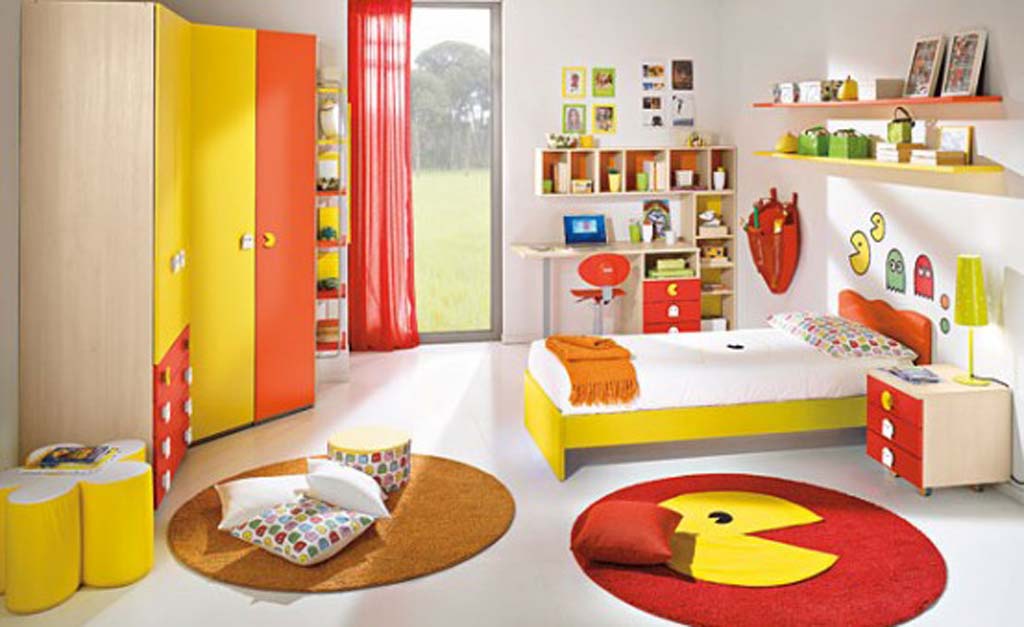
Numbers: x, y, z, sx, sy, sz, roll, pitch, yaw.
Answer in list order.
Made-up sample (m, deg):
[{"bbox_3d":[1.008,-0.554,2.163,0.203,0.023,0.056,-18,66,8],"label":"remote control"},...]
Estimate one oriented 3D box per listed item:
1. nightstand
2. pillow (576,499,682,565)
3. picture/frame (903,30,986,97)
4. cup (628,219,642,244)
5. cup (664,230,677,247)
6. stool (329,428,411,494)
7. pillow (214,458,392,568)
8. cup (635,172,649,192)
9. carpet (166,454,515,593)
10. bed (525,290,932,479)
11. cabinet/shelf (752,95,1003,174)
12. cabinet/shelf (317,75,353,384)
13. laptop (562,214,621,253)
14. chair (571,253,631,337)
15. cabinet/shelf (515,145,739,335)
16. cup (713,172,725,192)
[{"bbox_3d":[2.835,0.770,5.097,0.782,0.653,0.776,0,3,-4],"label":"nightstand"},{"bbox_3d":[0.656,1.266,4.247,0.358,0.142,0.407,0,9,15],"label":"pillow"},{"bbox_3d":[3.030,-1.746,5.156,0.060,0.409,0.555,8,12,-18],"label":"picture/frame"},{"bbox_3d":[1.286,-0.878,7.818,0.202,0.302,0.212,0,3,0],"label":"cup"},{"bbox_3d":[1.695,-0.801,7.758,0.135,0.181,0.205,0,1,6],"label":"cup"},{"bbox_3d":[-0.935,0.939,4.896,0.426,0.226,0.426,2,8,9],"label":"stool"},{"bbox_3d":[-1.297,1.187,4.416,0.681,0.222,0.610,7,10,33],"label":"pillow"},{"bbox_3d":[1.356,-1.385,7.772,0.153,0.183,0.082,10,19,33],"label":"cup"},{"bbox_3d":[-0.955,1.293,4.381,2.020,0.023,2.048,-26,-39,21],"label":"carpet"},{"bbox_3d":[1.382,0.335,5.548,2.358,0.952,1.349,-3,8,-9],"label":"bed"},{"bbox_3d":[2.761,-1.488,5.725,0.367,0.393,1.967,-6,17,-16],"label":"cabinet/shelf"},{"bbox_3d":[-1.670,-0.620,6.727,0.361,2.413,0.972,-2,-11,-9],"label":"cabinet/shelf"},{"bbox_3d":[0.804,-0.885,7.865,0.565,0.332,0.405,0,1,-8],"label":"laptop"},{"bbox_3d":[0.851,-0.105,7.214,0.534,0.948,0.473,-2,5,-18],"label":"chair"},{"bbox_3d":[1.548,-0.912,8.168,1.996,1.684,0.615,5,25,33],"label":"cabinet/shelf"},{"bbox_3d":[2.189,-1.407,7.770,0.184,0.205,0.085,-13,20,-36],"label":"cup"}]
